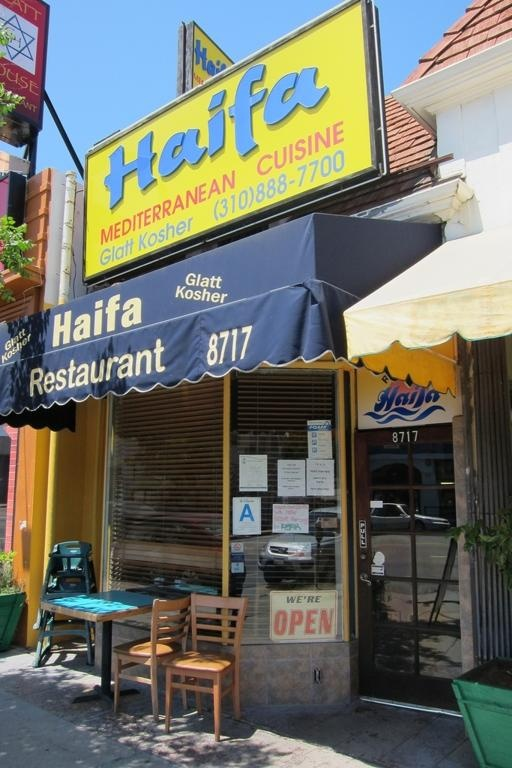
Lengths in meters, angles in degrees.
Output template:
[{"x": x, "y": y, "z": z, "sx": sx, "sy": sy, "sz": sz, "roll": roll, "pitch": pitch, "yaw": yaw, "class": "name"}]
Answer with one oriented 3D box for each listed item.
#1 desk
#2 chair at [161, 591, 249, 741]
[{"x": -1.190, "y": 2.117, "z": 5.850, "sx": 1.135, "sy": 1.195, "sz": 1.158, "roll": -7, "pitch": -9, "yaw": 43, "class": "desk"}, {"x": -0.385, "y": 2.141, "z": 5.079, "sx": 0.480, "sy": 0.954, "sz": 0.589, "roll": -2, "pitch": -10, "yaw": 18, "class": "chair"}]
